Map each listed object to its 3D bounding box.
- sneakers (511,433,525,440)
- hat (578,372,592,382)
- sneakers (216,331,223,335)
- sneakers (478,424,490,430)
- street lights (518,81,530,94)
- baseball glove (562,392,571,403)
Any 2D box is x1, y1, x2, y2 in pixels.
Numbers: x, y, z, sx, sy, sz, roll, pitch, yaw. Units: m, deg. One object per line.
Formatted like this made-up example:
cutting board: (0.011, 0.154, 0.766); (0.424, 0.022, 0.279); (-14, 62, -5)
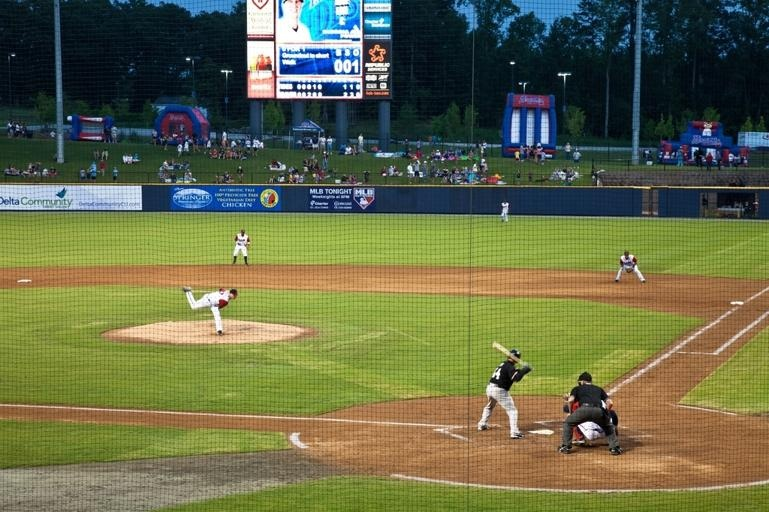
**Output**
sneakers: (5.639, 7.567, 59.307); (0.524, 0.216, 0.204); (-4, 33, -2)
hat: (8.385, 5.066, 59.025); (0.421, 0.326, 0.532); (0, 13, -12)
sneakers: (-7.794, 3.599, 66.765); (0.261, 0.254, 0.186); (-1, 5, -17)
sneakers: (4.213, 7.263, 59.833); (0.310, 0.105, 0.199); (-3, 17, -14)
street lights: (9.852, -11.961, 99.738); (0.957, 1.012, 0.232); (0, 38, 3)
baseball glove: (7.644, 5.950, 58.908); (0.410, 0.406, 0.326); (-3, 4, 7)
